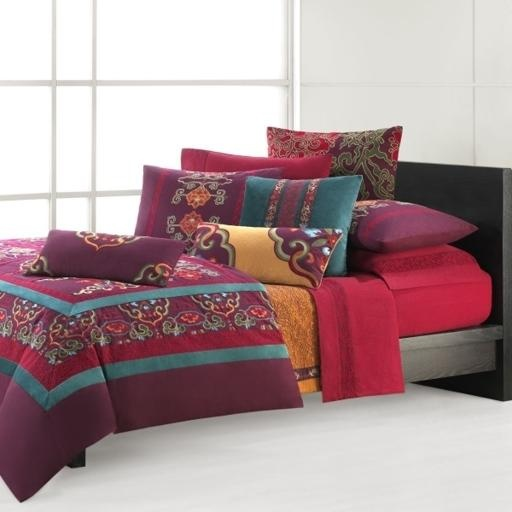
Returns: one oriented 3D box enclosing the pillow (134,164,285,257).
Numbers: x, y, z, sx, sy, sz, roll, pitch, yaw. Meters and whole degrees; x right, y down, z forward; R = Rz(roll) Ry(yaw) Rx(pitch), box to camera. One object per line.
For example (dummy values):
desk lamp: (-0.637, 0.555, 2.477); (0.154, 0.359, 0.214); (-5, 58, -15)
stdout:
pillow: (-0.238, -0.203, 2.441); (0.517, 0.370, 0.142); (1, -22, 28)

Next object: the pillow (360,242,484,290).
pillow: (0.681, 0.011, 2.220); (0.320, 0.062, 0.272); (-5, 8, -26)

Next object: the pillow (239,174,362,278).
pillow: (0.238, -0.124, 2.277); (0.555, 0.393, 0.159); (2, -20, 34)

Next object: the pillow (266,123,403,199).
pillow: (0.360, -0.461, 2.662); (0.645, 0.311, 0.188); (2, 8, 8)
